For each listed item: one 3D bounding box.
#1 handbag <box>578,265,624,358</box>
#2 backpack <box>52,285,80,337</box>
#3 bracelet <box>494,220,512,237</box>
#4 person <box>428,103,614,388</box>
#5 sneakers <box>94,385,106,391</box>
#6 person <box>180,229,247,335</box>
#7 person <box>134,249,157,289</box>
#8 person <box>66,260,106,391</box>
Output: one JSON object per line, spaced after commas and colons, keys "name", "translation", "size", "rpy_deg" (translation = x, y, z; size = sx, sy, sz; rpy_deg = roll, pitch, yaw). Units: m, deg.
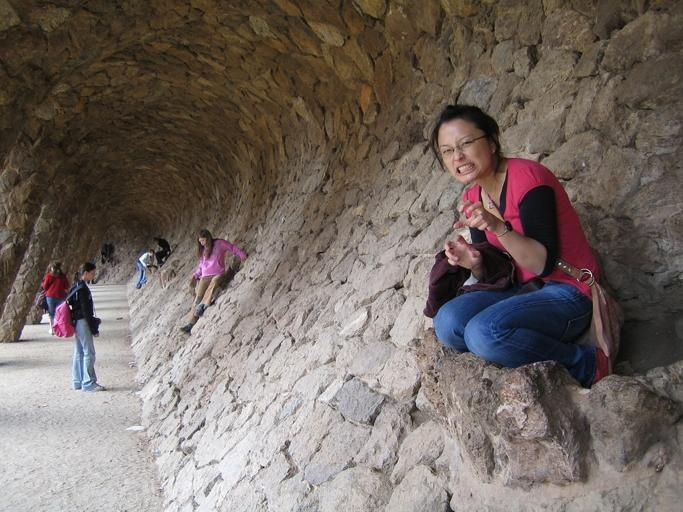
{"name": "handbag", "translation": [1.058, 0.240, 1.913], "size": [0.202, 0.264, 0.101], "rpy_deg": [0, 2, -42]}
{"name": "backpack", "translation": [-3.297, 0.683, 5.663], "size": [0.253, 0.651, 0.373], "rpy_deg": [1, 2, -32]}
{"name": "bracelet", "translation": [0.618, -0.097, 1.861], "size": [0.065, 0.039, 0.066], "rpy_deg": [-35, 11, 48]}
{"name": "person", "translation": [0.725, -0.034, 2.057], "size": [0.644, 1.271, 0.617], "rpy_deg": [-5, -7, 14]}
{"name": "sneakers", "translation": [-2.924, 1.620, 5.741], "size": [0.108, 0.054, 0.050], "rpy_deg": [-7, 10, 16]}
{"name": "person", "translation": [-1.731, 0.321, 6.464], "size": [0.812, 1.358, 0.955], "rpy_deg": [1, 2, -15]}
{"name": "person", "translation": [-5.341, 0.394, 12.965], "size": [0.444, 1.078, 0.835], "rpy_deg": [1, 2, -28]}
{"name": "person", "translation": [-3.166, 0.859, 5.851], "size": [0.419, 1.560, 0.596], "rpy_deg": [1, 2, -32]}
